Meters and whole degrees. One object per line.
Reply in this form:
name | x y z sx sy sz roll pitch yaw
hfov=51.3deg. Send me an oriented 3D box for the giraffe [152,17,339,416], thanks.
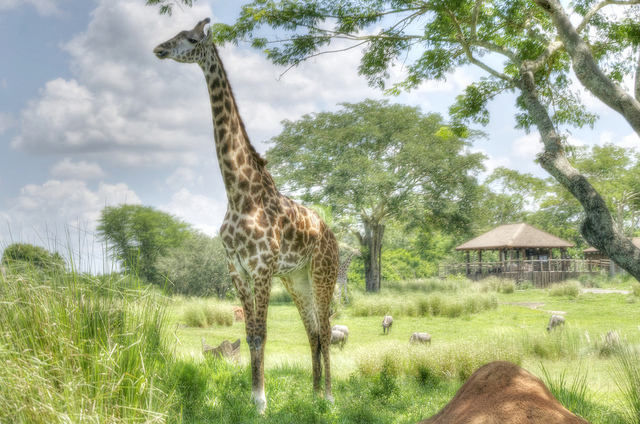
giraffe | -1.247 0.040 14.487 3.306 8.313 1.578 0 2 -3
